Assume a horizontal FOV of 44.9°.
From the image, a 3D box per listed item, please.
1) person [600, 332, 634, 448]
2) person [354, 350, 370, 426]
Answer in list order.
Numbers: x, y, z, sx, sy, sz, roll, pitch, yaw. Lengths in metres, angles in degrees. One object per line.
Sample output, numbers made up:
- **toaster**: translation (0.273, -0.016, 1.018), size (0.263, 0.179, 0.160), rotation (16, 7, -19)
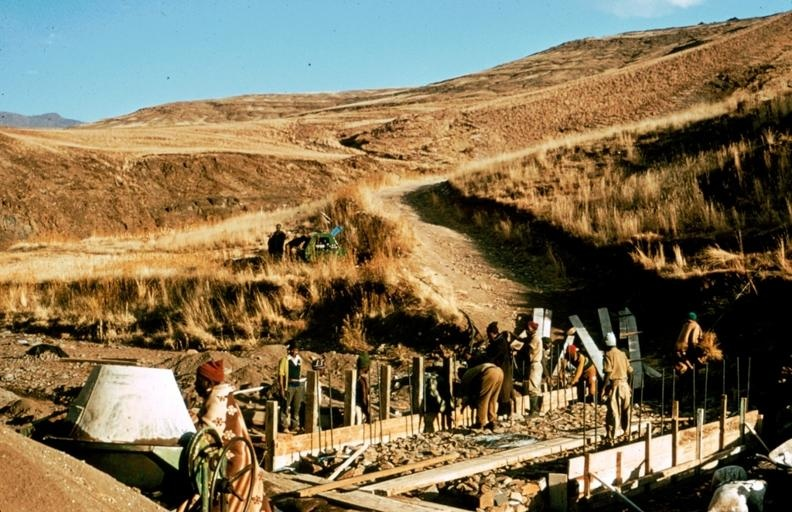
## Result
- **person**: translation (6.987, 4.140, 30.358), size (1.063, 3.485, 0.621), rotation (-1, -2, -28)
- **person**: translation (-0.986, 4.309, 31.619), size (0.444, 2.246, 1.014), rotation (-2, -2, -2)
